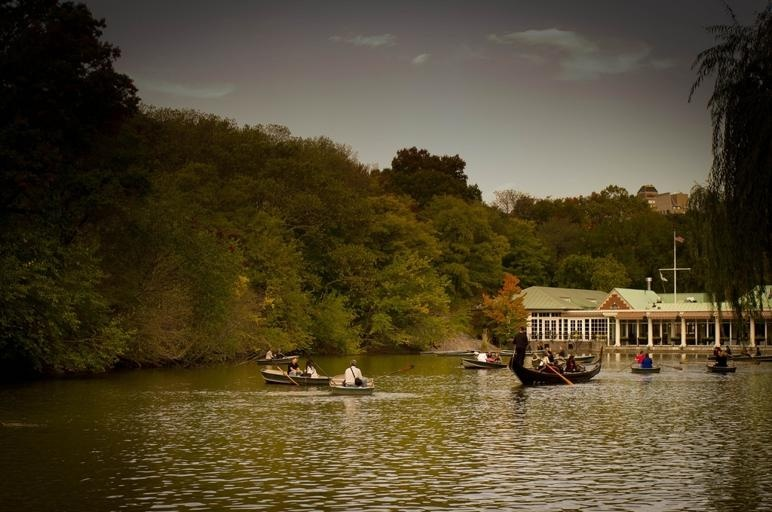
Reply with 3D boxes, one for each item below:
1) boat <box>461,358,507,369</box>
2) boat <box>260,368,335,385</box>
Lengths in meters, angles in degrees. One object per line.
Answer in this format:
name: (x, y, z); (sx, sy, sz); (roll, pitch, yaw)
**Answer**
boat: (8.455, 9.480, 81.901); (3.370, 0.573, 1.252); (4, 4, -16)
boat: (-6.067, 8.140, 63.209); (4.234, 0.835, 1.019); (3, -1, 4)
